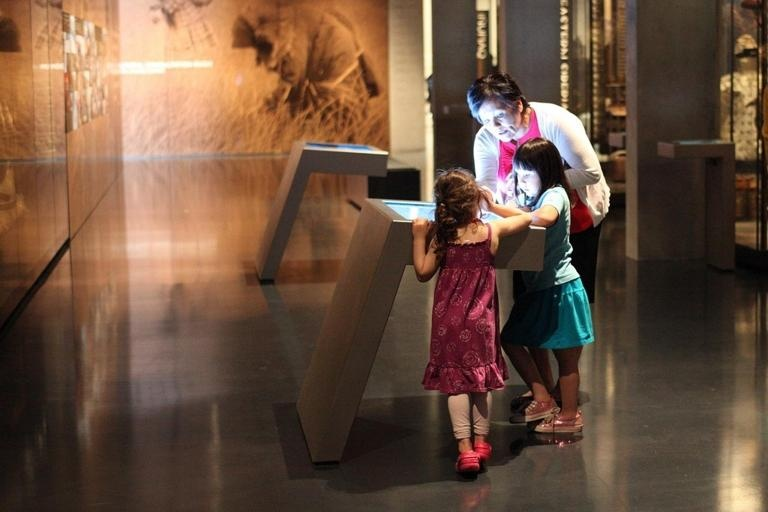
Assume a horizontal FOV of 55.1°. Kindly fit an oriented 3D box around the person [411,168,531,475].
[{"bbox_3d":[0.485,0.386,4.452,0.549,1.748,0.591,8,17,31],"label":"person"}]

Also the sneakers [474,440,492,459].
[{"bbox_3d":[0.593,1.171,4.432,0.090,0.061,0.147,3,-22,-4],"label":"sneakers"}]

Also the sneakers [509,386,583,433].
[{"bbox_3d":[1.079,1.041,4.911,0.503,0.197,0.200,3,1,9],"label":"sneakers"}]
